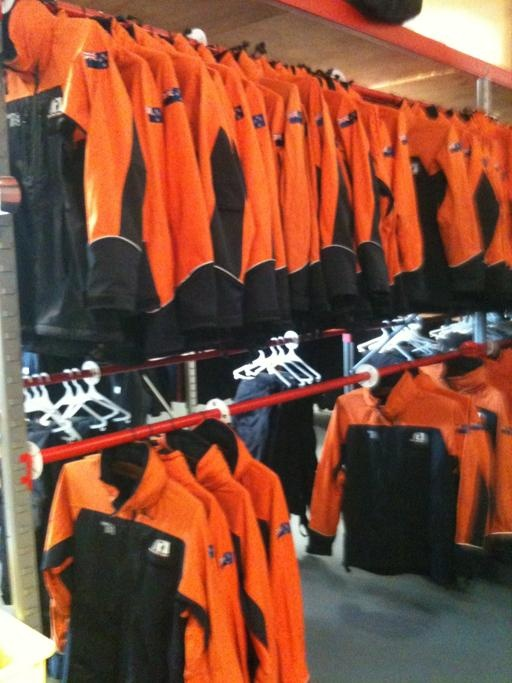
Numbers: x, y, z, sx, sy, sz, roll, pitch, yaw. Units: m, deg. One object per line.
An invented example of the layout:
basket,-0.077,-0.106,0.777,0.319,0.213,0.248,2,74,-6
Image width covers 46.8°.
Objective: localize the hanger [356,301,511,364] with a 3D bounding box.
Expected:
hanger,0.756,-0.017,2.557,0.633,0.215,0.458,-1,3,-11
